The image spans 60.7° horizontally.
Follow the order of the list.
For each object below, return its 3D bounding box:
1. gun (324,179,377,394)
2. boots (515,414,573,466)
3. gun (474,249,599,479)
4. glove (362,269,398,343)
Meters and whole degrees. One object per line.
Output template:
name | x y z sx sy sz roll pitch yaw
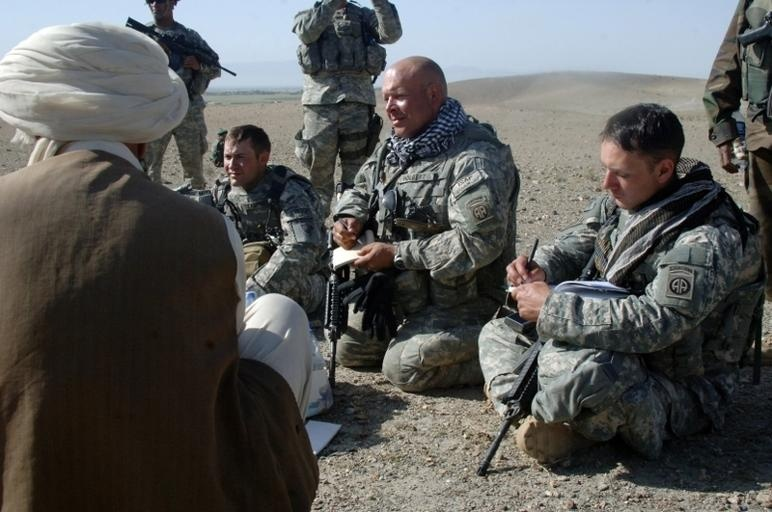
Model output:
gun | -0.288 0.163 4.521 0.542 1.399 0.199 2 -15 -5
boots | 0.786 0.895 3.358 0.283 0.263 0.205 -11 5 -22
gun | 0.766 0.568 3.364 0.199 1.151 0.422 28 -13 -8
glove | -0.043 0.312 4.231 0.260 0.421 0.141 -3 14 -19
